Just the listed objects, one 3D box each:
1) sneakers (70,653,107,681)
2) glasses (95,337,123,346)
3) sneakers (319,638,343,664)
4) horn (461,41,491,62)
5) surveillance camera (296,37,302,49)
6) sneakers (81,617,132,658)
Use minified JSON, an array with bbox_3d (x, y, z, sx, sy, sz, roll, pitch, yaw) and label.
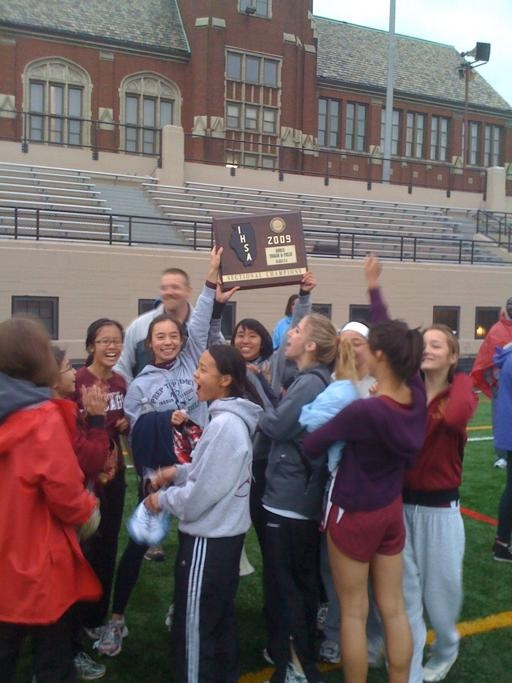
[{"bbox_3d":[-0.873,1.674,4.190,0.158,0.105,0.189,-4,8,-35],"label":"sneakers"},{"bbox_3d":[-0.873,0.002,4.786,0.060,0.056,0.185,6,8,38],"label":"glasses"},{"bbox_3d":[0.398,1.697,4.411,0.133,0.118,0.066,6,8,39],"label":"sneakers"},{"bbox_3d":[8.959,-11.459,31.956,0.767,0.740,0.508,5,8,36],"label":"horn"},{"bbox_3d":[1.600,-11.044,29.745,0.063,0.791,0.191,-29,-43,29],"label":"surveillance camera"},{"bbox_3d":[-0.819,1.639,4.439,0.203,0.202,0.098,-22,-12,25],"label":"sneakers"}]
